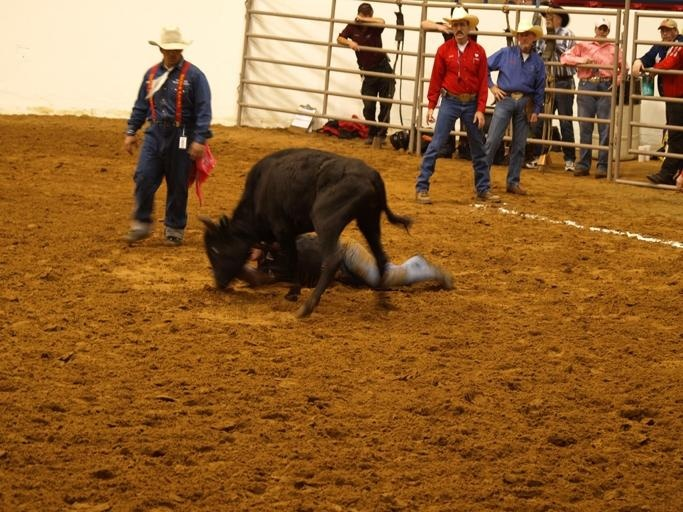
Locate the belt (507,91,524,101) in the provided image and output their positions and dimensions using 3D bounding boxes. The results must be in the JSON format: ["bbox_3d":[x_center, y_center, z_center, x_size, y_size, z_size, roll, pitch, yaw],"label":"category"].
[{"bbox_3d":[2.482,-2.285,9.241,0.206,0.138,0.046,2,4,10],"label":"belt"}]

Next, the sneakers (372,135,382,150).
[{"bbox_3d":[0.745,-2.292,13.046,0.314,0.260,0.267,4,23,5],"label":"sneakers"}]

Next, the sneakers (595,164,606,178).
[{"bbox_3d":[4.453,-1.460,11.227,0.165,0.150,0.427,2,12,23],"label":"sneakers"}]

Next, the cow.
[{"bbox_3d":[-0.337,-0.229,5.546,1.378,1.361,0.741,10,11,33],"label":"cow"}]

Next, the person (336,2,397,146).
[{"bbox_3d":[0.508,-3.590,12.987,1.134,2.757,0.737,5,10,-1],"label":"person"}]

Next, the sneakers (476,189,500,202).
[{"bbox_3d":[2.048,-0.838,9.162,0.322,0.105,0.157,4,11,42],"label":"sneakers"}]

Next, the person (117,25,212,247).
[{"bbox_3d":[-1.803,-1.236,6.817,0.878,2.192,0.679,3,11,-15],"label":"person"}]

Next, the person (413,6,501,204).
[{"bbox_3d":[1.661,-1.882,8.938,1.021,2.285,0.669,6,10,4],"label":"person"}]

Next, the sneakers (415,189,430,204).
[{"bbox_3d":[1.133,-0.808,8.918,0.194,0.165,0.258,4,8,0],"label":"sneakers"}]

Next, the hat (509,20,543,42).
[{"bbox_3d":[2.645,-3.233,9.113,0.316,0.260,0.497,7,8,19],"label":"hat"}]

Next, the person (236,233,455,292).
[{"bbox_3d":[0.052,0.071,5.862,2.065,0.523,0.445,-3,-1,29],"label":"person"}]

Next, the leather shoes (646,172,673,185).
[{"bbox_3d":[5.100,-1.251,10.368,0.400,0.189,0.195,-1,10,-31],"label":"leather shoes"}]
